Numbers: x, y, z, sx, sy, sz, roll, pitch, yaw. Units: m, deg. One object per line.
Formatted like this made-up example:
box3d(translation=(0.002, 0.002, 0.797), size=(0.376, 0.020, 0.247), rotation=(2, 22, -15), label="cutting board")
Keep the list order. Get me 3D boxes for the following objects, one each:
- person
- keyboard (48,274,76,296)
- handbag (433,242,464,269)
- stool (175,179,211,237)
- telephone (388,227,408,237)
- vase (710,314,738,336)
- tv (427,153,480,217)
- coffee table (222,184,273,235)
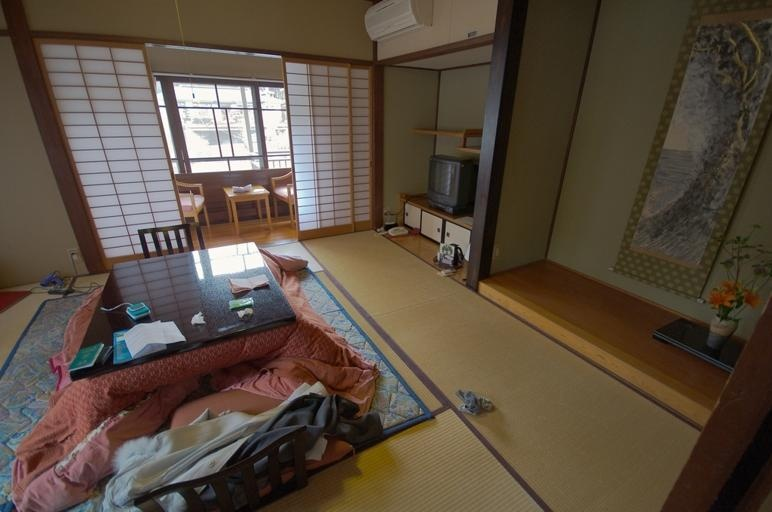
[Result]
box3d(translation=(-1.360, 1.280, 4.201), size=(0.918, 0.129, 0.285), rotation=(-7, 20, -8), label="person")
box3d(translation=(-3.724, 0.351, 5.643), size=(0.264, 0.089, 0.202), rotation=(-3, 52, -25), label="keyboard")
box3d(translation=(0.799, 0.012, 6.290), size=(0.322, 0.309, 0.322), rotation=(2, 30, 10), label="handbag")
box3d(translation=(-2.793, -0.749, 7.088), size=(0.431, 0.597, 0.409), rotation=(-5, 30, 2), label="stool")
box3d(translation=(0.190, -0.360, 7.348), size=(0.188, 0.059, 0.186), rotation=(-8, 16, -25), label="telephone")
box3d(translation=(3.095, 0.649, 4.507), size=(0.182, 0.235, 0.185), rotation=(2, 24, 18), label="vase")
box3d(translation=(0.942, -0.998, 6.852), size=(0.554, 0.705, 0.693), rotation=(-13, 23, -39), label="tv")
box3d(translation=(-2.112, -0.881, 7.707), size=(0.793, 0.767, 0.792), rotation=(-8, 33, -18), label="coffee table")
